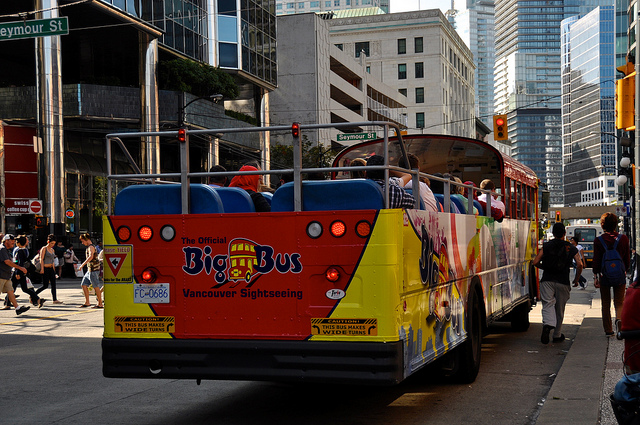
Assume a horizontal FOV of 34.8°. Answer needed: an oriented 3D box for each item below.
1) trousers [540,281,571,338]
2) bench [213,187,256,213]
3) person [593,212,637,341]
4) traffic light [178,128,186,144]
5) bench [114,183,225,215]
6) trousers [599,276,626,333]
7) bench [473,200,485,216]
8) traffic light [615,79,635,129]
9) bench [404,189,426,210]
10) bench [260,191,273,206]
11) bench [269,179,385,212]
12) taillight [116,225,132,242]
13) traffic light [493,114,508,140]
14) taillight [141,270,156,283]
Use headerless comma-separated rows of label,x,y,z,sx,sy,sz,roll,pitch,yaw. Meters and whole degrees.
trousers,6.043,2.531,26.486,0.700,1.502,0.711,-2,10,0
bench,-1.889,-0.282,21.702,0.712,0.700,0.373,-15,13,-16
person,7.746,1.758,27.100,1.314,3.368,1.143,0,0,13
traffic light,-2.947,-1.608,21.489,0.200,0.278,0.108,3,11,27
bench,-3.266,-0.278,21.619,2.354,0.623,0.312,0,10,9
trousers,7.611,2.374,26.850,0.633,1.995,0.548,-3,-37,19
bench,3.840,-0.096,24.967,0.259,0.456,0.844,0,10,8
traffic light,9.988,-3.578,33.717,0.601,1.626,0.992,1,10,17
bench,2.113,-0.275,22.088,0.460,0.406,0.760,4,-10,14
bench,-1.197,-0.323,22.403,0.071,0.246,0.241,-33,-15,-3
bench,0.100,-0.302,21.350,2.413,0.644,0.485,-3,-12,1
taillight,-4.170,0.432,21.594,0.322,0.319,0.079,-1,-2,15
traffic light,8.151,-3.897,46.608,0.557,1.179,1.035,-1,10,4
taillight,-3.637,1.346,21.627,0.254,0.249,0.250,12,-4,-1
